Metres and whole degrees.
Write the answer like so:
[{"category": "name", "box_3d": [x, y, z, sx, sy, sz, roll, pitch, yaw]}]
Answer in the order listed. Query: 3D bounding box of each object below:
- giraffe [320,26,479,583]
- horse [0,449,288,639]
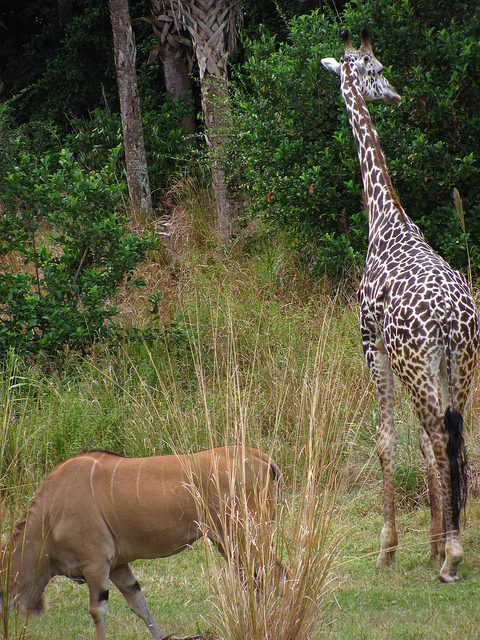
[{"category": "giraffe", "box_3d": [0.926, -0.278, 5.522, 0.692, 2.354, 1.835, -3, 1, -14]}, {"category": "horse", "box_3d": [-0.420, 1.075, 4.124, 1.260, 0.824, 1.048, -4, 1, 2]}]
